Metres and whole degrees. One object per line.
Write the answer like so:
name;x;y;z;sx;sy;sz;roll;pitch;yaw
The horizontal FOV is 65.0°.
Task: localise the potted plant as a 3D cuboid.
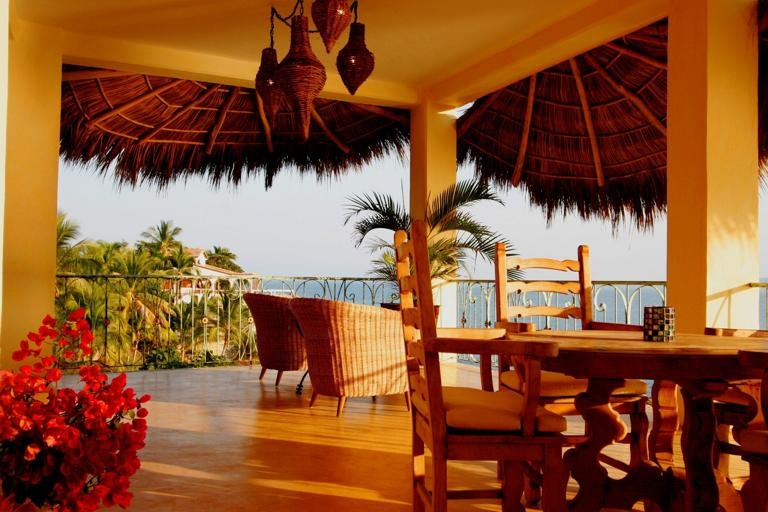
potted plant;0.545;-0.150;7.268;0.960;1.478;1.618;1;3;-40
